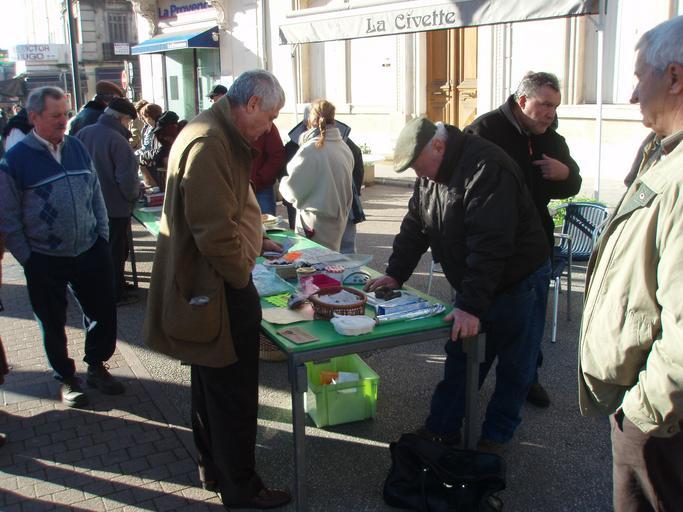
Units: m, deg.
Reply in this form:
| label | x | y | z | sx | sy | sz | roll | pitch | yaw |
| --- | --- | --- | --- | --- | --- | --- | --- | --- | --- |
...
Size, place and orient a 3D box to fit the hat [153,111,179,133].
| label | x | y | z | sx | sy | sz | roll | pitch | yaw |
| --- | --- | --- | --- | --- | --- | --- | --- | --- | --- |
| hat | -2.007 | -1.526 | 6.454 | 0.264 | 0.163 | 0.205 | -10 | 18 | -19 |

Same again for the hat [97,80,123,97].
| label | x | y | z | sx | sy | sz | roll | pitch | yaw |
| --- | --- | --- | --- | --- | --- | --- | --- | --- | --- |
| hat | -2.570 | -1.830 | 6.233 | 0.192 | 0.142 | 0.292 | 8 | 13 | 20 |

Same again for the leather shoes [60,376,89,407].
| label | x | y | z | sx | sy | sz | roll | pitch | yaw |
| --- | --- | --- | --- | --- | --- | --- | --- | --- | --- |
| leather shoes | -2.008 | 1.030 | 4.242 | 0.119 | 0.140 | 0.311 | -9 | 12 | -33 |

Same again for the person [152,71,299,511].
| label | x | y | z | sx | sy | sz | roll | pitch | yaw |
| --- | --- | --- | --- | --- | --- | --- | --- | --- | --- |
| person | -0.665 | 0.248 | 3.052 | 0.794 | 2.387 | 0.488 | -7 | 15 | -21 |

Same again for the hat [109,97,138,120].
| label | x | y | z | sx | sy | sz | roll | pitch | yaw |
| --- | --- | --- | --- | --- | --- | --- | --- | --- | --- |
| hat | -2.161 | -1.459 | 5.595 | 0.168 | 0.134 | 0.238 | 21 | 5 | 20 |

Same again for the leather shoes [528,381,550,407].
| label | x | y | z | sx | sy | sz | roll | pitch | yaw |
| --- | --- | --- | --- | --- | --- | --- | --- | --- | --- |
| leather shoes | 1.431 | 1.012 | 4.210 | 0.104 | 0.113 | 0.261 | -8 | 13 | -18 |

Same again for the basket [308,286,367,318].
| label | x | y | z | sx | sy | sz | roll | pitch | yaw |
| --- | --- | --- | --- | --- | --- | --- | --- | --- | --- |
| basket | -0.008 | 0.282 | 3.218 | 0.331 | 0.115 | 0.272 | 14 | 22 | 40 |

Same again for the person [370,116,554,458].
| label | x | y | z | sx | sy | sz | roll | pitch | yaw |
| --- | --- | --- | --- | --- | --- | --- | --- | --- | --- |
| person | 0.679 | 0.269 | 3.495 | 0.991 | 2.171 | 1.095 | 3 | 13 | 28 |

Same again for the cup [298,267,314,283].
| label | x | y | z | sx | sy | sz | roll | pitch | yaw |
| --- | --- | --- | --- | --- | --- | --- | --- | --- | --- |
| cup | -0.237 | 0.132 | 3.739 | 0.088 | 0.074 | 0.087 | 2 | 17 | -1 |

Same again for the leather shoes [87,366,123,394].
| label | x | y | z | sx | sy | sz | roll | pitch | yaw |
| --- | --- | --- | --- | --- | --- | --- | --- | --- | --- |
| leather shoes | -1.854 | 0.951 | 4.457 | 0.364 | 0.192 | 0.145 | 16 | 23 | 34 |

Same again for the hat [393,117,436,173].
| label | x | y | z | sx | sy | sz | roll | pitch | yaw |
| --- | --- | --- | --- | --- | --- | --- | --- | --- | --- |
| hat | 0.421 | -0.628 | 3.201 | 0.246 | 0.300 | 0.240 | 0 | 15 | 6 |
